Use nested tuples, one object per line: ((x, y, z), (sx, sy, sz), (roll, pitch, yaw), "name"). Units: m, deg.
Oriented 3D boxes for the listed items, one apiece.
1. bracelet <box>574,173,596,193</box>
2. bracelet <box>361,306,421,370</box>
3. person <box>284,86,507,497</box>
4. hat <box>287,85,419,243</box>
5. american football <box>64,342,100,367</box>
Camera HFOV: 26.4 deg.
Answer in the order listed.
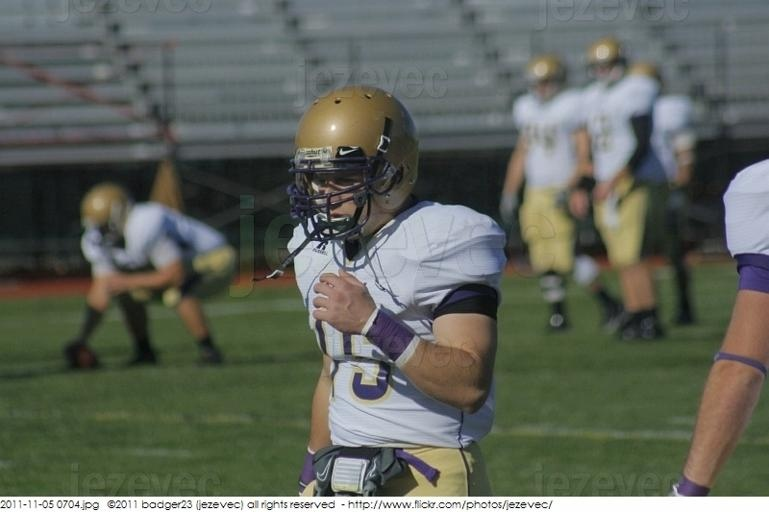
((1.081, -0.373, 8.753), (0.080, 0.096, 0.105), (2, -23, 15), "bracelet")
((0.042, 0.351, 7.169), (0.298, 0.181, 0.119), (45, 13, 10), "bracelet")
((0.052, 0.174, 7.384), (1.035, 1.880, 0.620), (-5, 6, 5), "person")
((-0.103, -0.427, 7.416), (0.548, 0.612, 0.674), (4, 17, 37), "hat")
((-1.544, 0.528, 8.460), (0.152, 0.126, 0.133), (-7, -25, -20), "american football")
